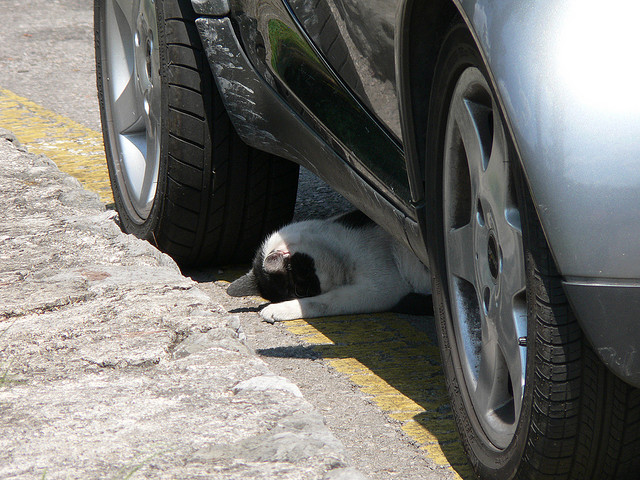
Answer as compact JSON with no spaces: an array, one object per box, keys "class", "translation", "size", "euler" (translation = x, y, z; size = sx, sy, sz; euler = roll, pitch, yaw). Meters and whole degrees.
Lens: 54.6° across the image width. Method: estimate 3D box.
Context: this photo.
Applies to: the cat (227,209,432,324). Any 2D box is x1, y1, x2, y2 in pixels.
[{"class":"cat","translation":[0.102,0.183,3.716],"size":[0.977,0.484,0.612],"euler":[3,-16,-25]}]
